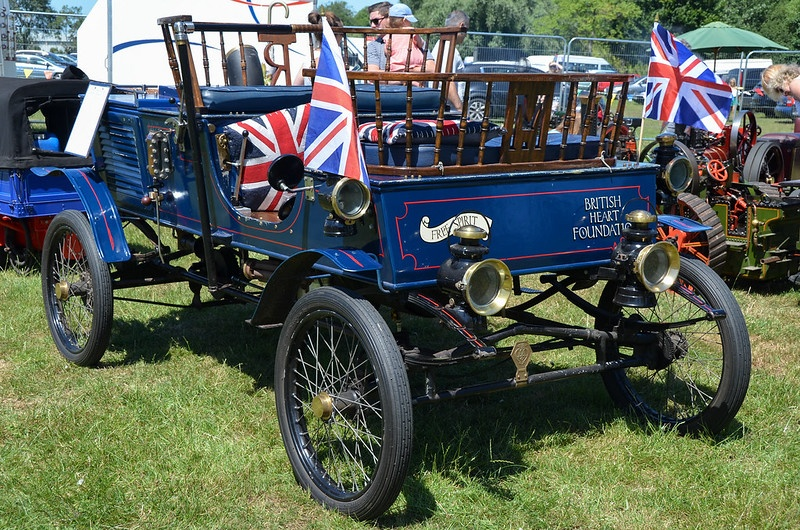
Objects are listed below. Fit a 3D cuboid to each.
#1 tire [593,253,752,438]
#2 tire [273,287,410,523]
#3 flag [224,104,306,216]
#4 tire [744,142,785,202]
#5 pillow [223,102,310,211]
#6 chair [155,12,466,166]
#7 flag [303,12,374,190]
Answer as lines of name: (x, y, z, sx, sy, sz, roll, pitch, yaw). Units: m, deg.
tire: (1.970, 0.647, 5.470, 0.238, 1.304, 1.114, -6, 11, -28)
tire: (-0.376, 0.924, 4.791, 0.234, 1.267, 1.098, 1, 14, -45)
flag: (-1.010, -0.756, 5.589, 0.716, 0.747, 0.258, -11, 13, -26)
tire: (3.964, -1.022, 8.130, 0.623, 0.763, 0.253, -7, 9, -44)
pillow: (-0.997, -0.777, 5.570, 0.723, 0.756, 0.262, -11, 12, -25)
chair: (-0.559, -1.160, 5.534, 2.242, 1.210, 1.705, 13, 18, 41)
flag: (-0.407, -1.020, 4.646, 0.240, 0.984, 0.594, -13, 22, -37)
